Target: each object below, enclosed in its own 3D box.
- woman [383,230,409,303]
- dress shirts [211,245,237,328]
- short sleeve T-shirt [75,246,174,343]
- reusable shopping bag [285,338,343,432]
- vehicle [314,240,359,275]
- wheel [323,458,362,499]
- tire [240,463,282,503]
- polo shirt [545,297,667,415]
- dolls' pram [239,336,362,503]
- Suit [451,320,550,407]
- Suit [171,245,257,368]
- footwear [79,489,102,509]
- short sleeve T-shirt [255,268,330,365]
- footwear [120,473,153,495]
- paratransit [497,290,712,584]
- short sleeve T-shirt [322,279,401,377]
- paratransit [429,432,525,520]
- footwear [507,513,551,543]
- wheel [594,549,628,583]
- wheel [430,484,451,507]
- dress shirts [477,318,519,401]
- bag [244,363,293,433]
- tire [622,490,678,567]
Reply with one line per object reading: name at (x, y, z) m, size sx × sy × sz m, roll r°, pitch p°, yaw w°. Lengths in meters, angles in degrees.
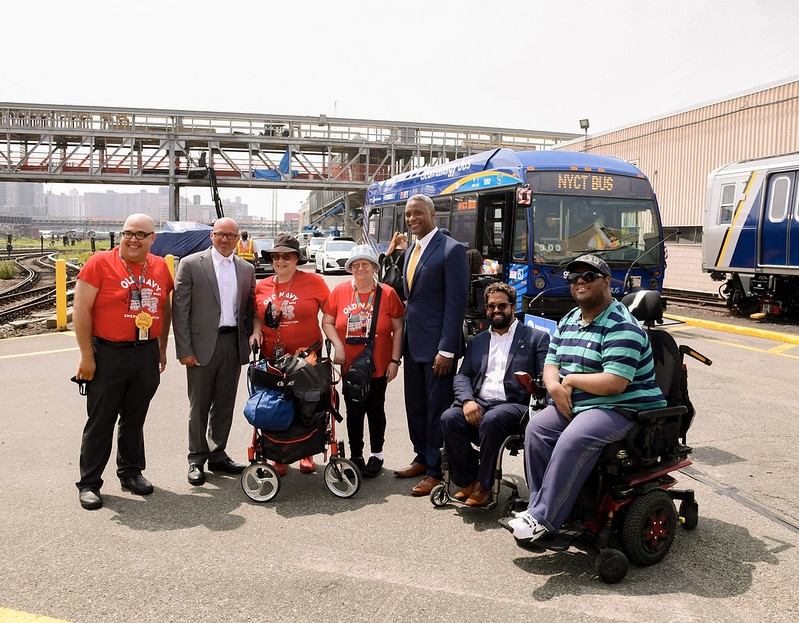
woman at (-0.047, -0.694, 9.401) m, size 0.349 × 0.942 × 0.756 m, roll 13°, pitch -2°, yaw -10°
dress shirts at (-1.619, -0.213, 6.066) m, size 0.311 × 0.669 × 0.150 m, roll 3°, pitch -7°, yaw -45°
short sleeve T-shirt at (-2.359, -0.121, 5.586) m, size 0.978 × 0.983 × 0.520 m, roll -1°, pitch 5°, yaw -44°
reusable shopping bag at (-0.864, 0.654, 5.873) m, size 0.531 × 0.777 × 0.778 m, roll 2°, pitch 0°, yaw 31°
vehicle at (-2.992, -2.516, 30.152) m, size 1.830 × 1.583 × 4.181 m, roll -1°, pitch -1°, yaw -12°
wheel at (-0.496, 1.455, 5.661) m, size 0.341 × 0.386 × 0.075 m, roll 4°, pitch 18°, yaw 14°
tire at (-1.195, 1.491, 5.609) m, size 0.273 × 0.297 × 0.101 m, roll -4°, pitch -7°, yaw 10°
polo shirt at (1.500, 0.301, 5.038) m, size 0.692 × 0.932 × 1.119 m, roll 2°, pitch -7°, yaw -23°
dolls' pram at (-0.971, 0.876, 5.919) m, size 0.995 × 1.434 × 1.231 m, roll -7°, pitch 8°, yaw -20°
Suit at (0.890, 0.514, 5.604) m, size 0.865 × 0.917 × 0.503 m, roll 3°, pitch -21°, yaw 24°
Suit at (-1.688, -0.072, 6.145) m, size 0.807 × 1.099 × 0.394 m, roll 3°, pitch -13°, yaw -28°
footwear at (-2.577, 1.561, 5.435) m, size 0.171 × 0.115 × 0.238 m, roll -6°, pitch 12°, yaw -28°
short sleeve T-shirt at (-1.005, 0.064, 6.060) m, size 0.817 × 0.896 × 0.492 m, roll 0°, pitch -1°, yaw 12°
footwear at (-2.314, 1.496, 5.738) m, size 0.355 × 0.154 × 0.137 m, roll 4°, pitch 3°, yaw 41°
paratransit at (1.568, 1.053, 5.649) m, size 1.976 × 2.259 × 1.427 m, roll 2°, pitch -4°, yaw -26°
short sleeve T-shirt at (-0.343, 0.161, 6.019) m, size 0.827 × 0.884 × 0.440 m, roll 2°, pitch 1°, yaw 3°
paratransit at (0.773, 1.344, 5.529) m, size 0.536 × 0.808 × 0.800 m, roll -1°, pitch -5°, yaw 40°
footwear at (0.903, 1.512, 4.513) m, size 0.163 × 0.138 × 0.371 m, roll -28°, pitch -26°, yaw 16°
wheel at (1.429, 1.721, 4.373) m, size 0.153 × 0.283 × 0.198 m, roll -6°, pitch 3°, yaw 0°
wheel at (0.352, 1.564, 5.497) m, size 0.139 × 0.147 × 0.055 m, roll -24°, pitch 4°, yaw -4°
dress shirts at (0.898, 0.420, 5.648) m, size 0.153 × 0.680 × 0.347 m, roll 10°, pitch -1°, yaw -43°
bag at (-1.142, 0.733, 5.690) m, size 0.449 × 0.566 × 0.354 m, roll 21°, pitch 22°, yaw 28°
tire at (1.751, 1.530, 4.570) m, size 0.398 × 0.427 × 0.124 m, roll 23°, pitch -8°, yaw -35°
